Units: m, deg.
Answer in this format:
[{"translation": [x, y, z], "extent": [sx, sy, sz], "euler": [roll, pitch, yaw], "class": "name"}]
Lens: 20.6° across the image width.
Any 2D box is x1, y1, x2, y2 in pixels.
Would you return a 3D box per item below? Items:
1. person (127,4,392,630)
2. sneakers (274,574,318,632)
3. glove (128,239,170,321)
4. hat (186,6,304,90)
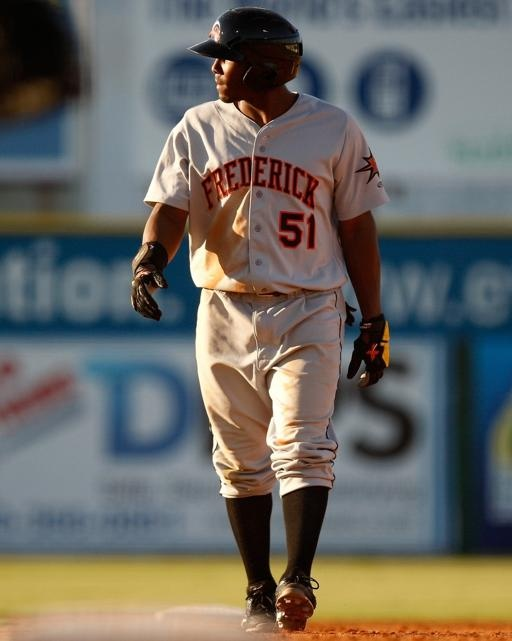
[{"translation": [0.081, -0.011, 4.258], "extent": [0.748, 1.601, 1.111], "euler": [-8, 32, -10], "class": "person"}, {"translation": [0.114, 0.805, 4.042], "extent": [0.113, 0.189, 0.159], "euler": [-1, 31, 1], "class": "sneakers"}, {"translation": [-0.319, -0.117, 4.226], "extent": [0.095, 0.098, 0.272], "euler": [1, 42, -16], "class": "glove"}, {"translation": [-0.020, -0.816, 4.230], "extent": [0.313, 0.189, 0.230], "euler": [1, 18, 5], "class": "hat"}]
